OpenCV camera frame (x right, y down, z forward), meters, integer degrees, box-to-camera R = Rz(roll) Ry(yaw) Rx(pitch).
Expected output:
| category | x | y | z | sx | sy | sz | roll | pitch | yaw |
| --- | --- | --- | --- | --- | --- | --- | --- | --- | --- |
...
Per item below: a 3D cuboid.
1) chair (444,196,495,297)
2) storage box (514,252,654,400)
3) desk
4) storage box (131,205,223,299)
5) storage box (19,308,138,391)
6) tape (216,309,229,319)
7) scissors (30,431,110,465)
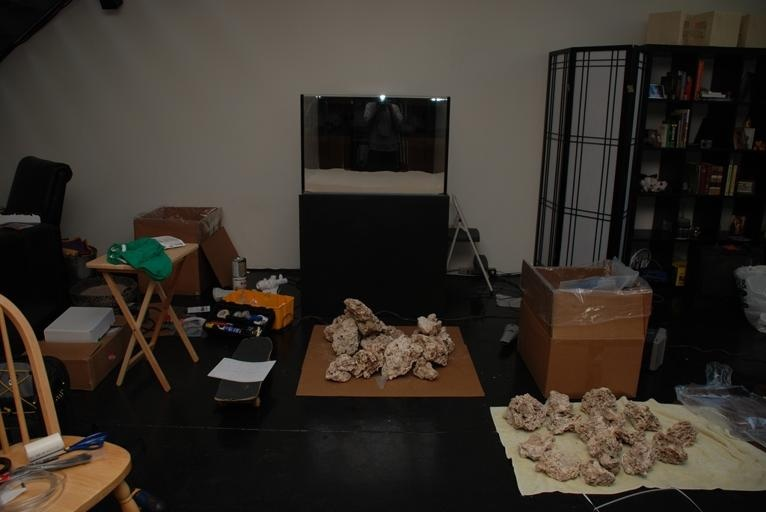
| category | x | y | z | sx | sy | sz | roll | pitch | yaw |
| --- | --- | --- | --- | --- | --- | --- | --- | --- | --- |
| chair | 0.979 | -0.155 | 5.562 | 0.504 | 1.013 | 0.528 | 2 | 11 | 8 |
| storage box | 1.547 | 0.580 | 3.913 | 0.868 | 0.951 | 0.506 | 2 | 11 | 9 |
| desk | -1.846 | 0.469 | 4.033 | 0.649 | 0.938 | 0.783 | -1 | 11 | -4 |
| storage box | -2.209 | -0.236 | 5.657 | 0.914 | 1.184 | 1.169 | 1 | 8 | 2 |
| storage box | -2.322 | 0.763 | 3.858 | 0.435 | 0.152 | 0.442 | 6 | 25 | 3 |
| tape | -1.443 | 0.522 | 4.590 | 0.126 | 0.056 | 0.134 | 1 | 10 | 2 |
| scissors | -1.535 | 0.925 | 2.468 | 0.284 | 0.081 | 0.154 | -8 | 17 | -35 |
